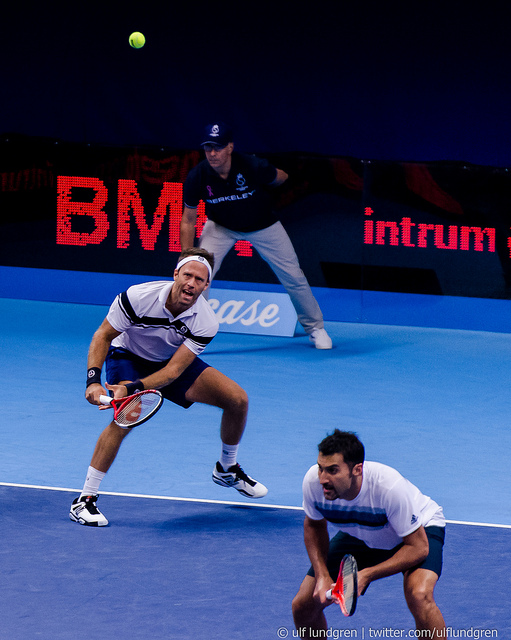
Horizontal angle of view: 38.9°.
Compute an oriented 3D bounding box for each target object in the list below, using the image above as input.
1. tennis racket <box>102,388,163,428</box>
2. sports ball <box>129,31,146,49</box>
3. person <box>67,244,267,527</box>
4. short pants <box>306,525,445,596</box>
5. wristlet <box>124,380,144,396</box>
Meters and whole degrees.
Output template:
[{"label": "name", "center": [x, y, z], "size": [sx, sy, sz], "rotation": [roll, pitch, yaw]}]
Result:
[{"label": "tennis racket", "center": [-0.553, 0.396, 3.238], "size": [0.251, 0.155, 0.387], "rotation": [-1, 4, -26]}, {"label": "sports ball", "center": [-1.617, -3.840, 9.905], "size": [0.222, 0.225, 0.374], "rotation": [1, 4, -9]}, {"label": "person", "center": [-0.517, 0.311, 3.754], "size": [1.026, 1.296, 1.115], "rotation": [2, 4, 31]}, {"label": "short pants", "center": [0.390, 0.751, 2.281], "size": [0.411, 0.134, 0.264], "rotation": [-10, 24, -9]}, {"label": "wristlet", "center": [-0.582, 0.326, 3.455], "size": [0.068, 0.065, 0.077], "rotation": [-12, -24, -22]}]
